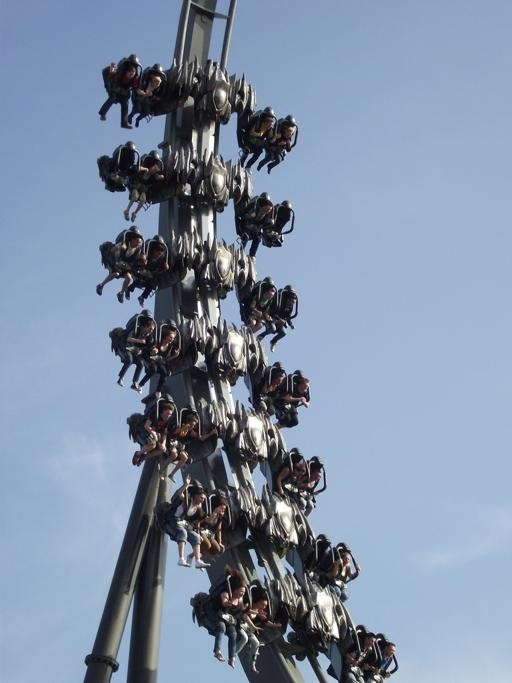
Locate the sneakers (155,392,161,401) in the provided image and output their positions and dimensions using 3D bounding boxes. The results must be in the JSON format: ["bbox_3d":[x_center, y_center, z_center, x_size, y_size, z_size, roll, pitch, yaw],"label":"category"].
[{"bbox_3d":[-1.743,0.981,25.724,0.082,0.124,0.043,-2,-1,-8],"label":"sneakers"}]

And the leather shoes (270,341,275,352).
[{"bbox_3d":[0.376,0.101,29.912,0.056,0.127,0.186,-1,-77,3],"label":"leather shoes"}]
